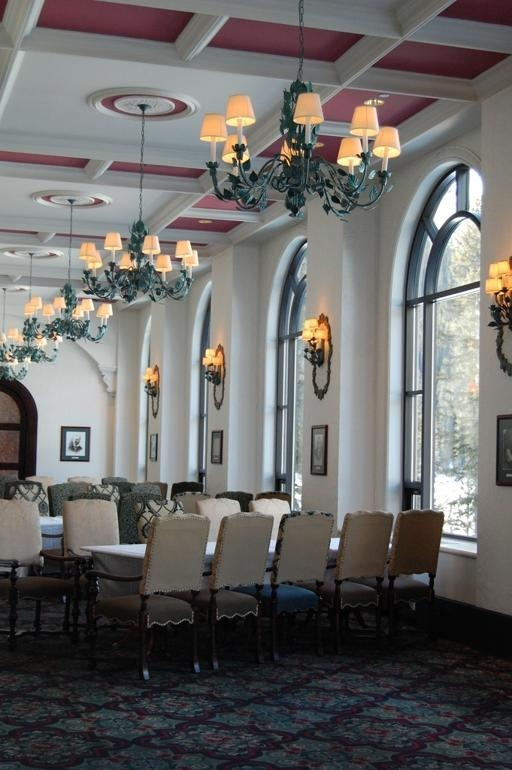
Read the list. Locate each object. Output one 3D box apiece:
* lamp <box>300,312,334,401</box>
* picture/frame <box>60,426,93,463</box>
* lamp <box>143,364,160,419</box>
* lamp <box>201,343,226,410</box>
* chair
[{"bbox_3d":[0.672,-0.318,7.556,0.284,0.987,0.447,2,-3,-12],"label":"lamp"},{"bbox_3d":[-4.611,1.496,16.634,0.883,1.146,0.074,3,-7,-30],"label":"picture/frame"},{"bbox_3d":[-2.286,0.128,14.264,0.261,1.133,0.988,2,-3,-15],"label":"lamp"},{"bbox_3d":[-0.721,-0.136,10.731,0.328,1.070,0.546,2,-3,-15],"label":"lamp"},{"bbox_3d":[-0.090,1.435,4.921,2.438,1.178,1.248,4,-4,-36],"label":"chair"}]
